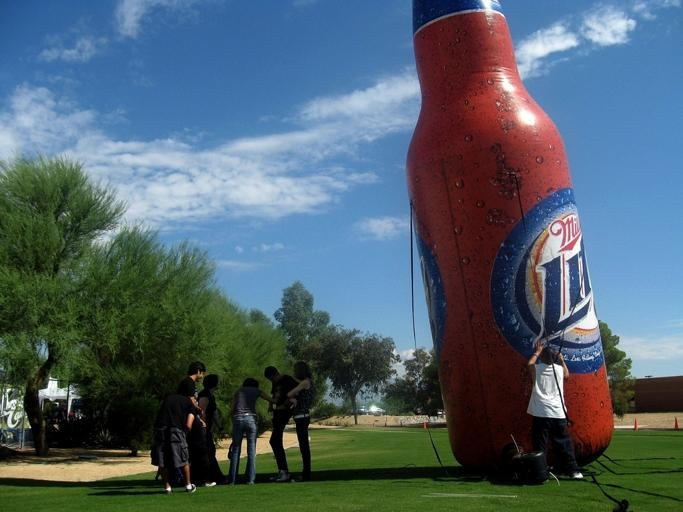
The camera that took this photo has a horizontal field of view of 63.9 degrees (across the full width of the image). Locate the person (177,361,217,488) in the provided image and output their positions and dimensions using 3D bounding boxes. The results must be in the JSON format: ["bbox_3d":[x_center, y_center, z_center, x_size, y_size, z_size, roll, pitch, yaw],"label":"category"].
[{"bbox_3d":[-2.566,3.026,9.684,0.642,2.366,0.622,-6,21,-18],"label":"person"}]

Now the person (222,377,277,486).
[{"bbox_3d":[-1.680,3.106,9.663,0.737,1.832,1.275,-3,-13,-13],"label":"person"}]

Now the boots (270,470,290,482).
[{"bbox_3d":[-1.136,3.844,9.539,0.483,0.208,0.161,12,-17,-27],"label":"boots"}]

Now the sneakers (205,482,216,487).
[{"bbox_3d":[-2.312,3.996,9.546,0.084,0.049,0.147,0,-1,-3],"label":"sneakers"}]

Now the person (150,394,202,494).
[{"bbox_3d":[-2.712,3.039,8.834,0.687,1.534,0.349,-1,-13,-19],"label":"person"}]
